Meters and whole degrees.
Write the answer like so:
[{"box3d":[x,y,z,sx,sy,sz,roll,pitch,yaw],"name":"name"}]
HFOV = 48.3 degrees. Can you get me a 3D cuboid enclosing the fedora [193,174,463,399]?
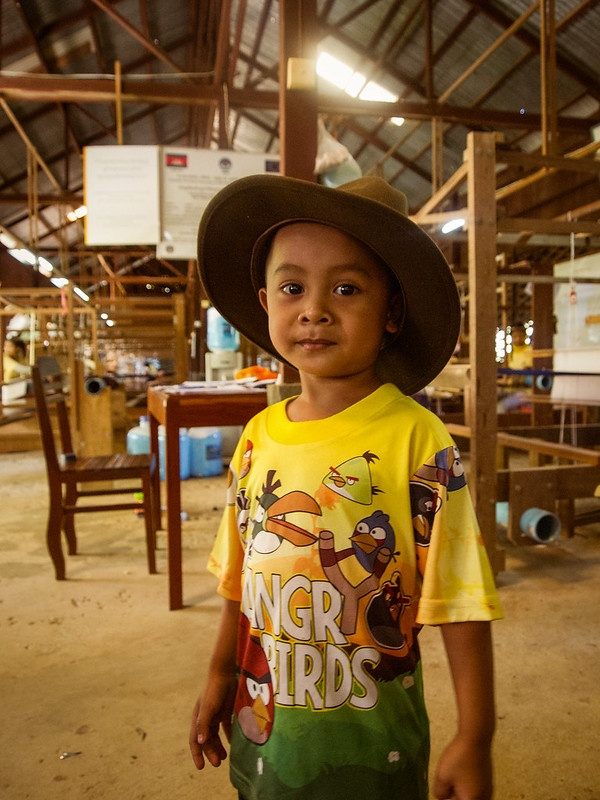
[{"box3d":[0.065,-0.224,1.090,0.390,0.425,0.180,11,53,21],"name":"fedora"}]
